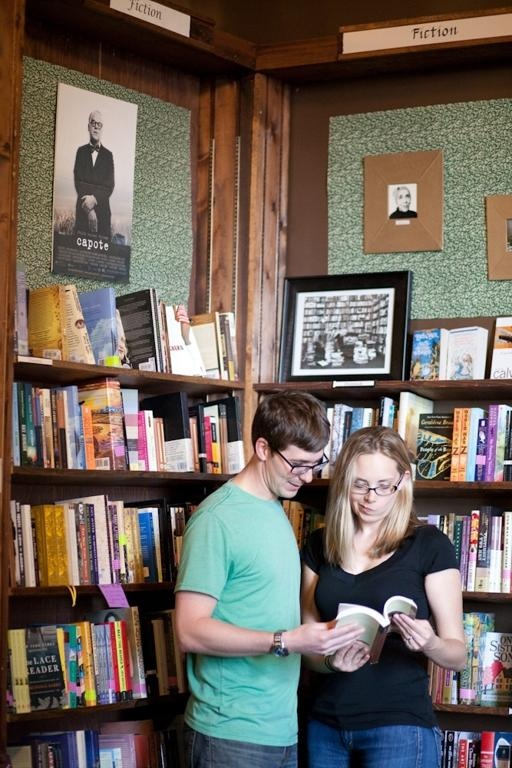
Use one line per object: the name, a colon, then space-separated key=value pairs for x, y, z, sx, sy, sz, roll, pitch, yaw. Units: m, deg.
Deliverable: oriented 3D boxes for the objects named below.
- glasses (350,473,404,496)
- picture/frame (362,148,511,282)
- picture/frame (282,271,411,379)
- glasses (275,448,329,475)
glasses: x=0.296 y=0.255 z=1.689 sx=0.123 sy=0.046 sz=0.036 roll=2 pitch=6 yaw=14
picture/frame: x=0.776 y=-0.695 z=2.822 sx=0.632 sy=0.521 sz=0.028 roll=0 pitch=-4 yaw=21
picture/frame: x=0.388 y=-0.230 z=2.799 sx=0.473 sy=0.385 sz=0.053 roll=-3 pitch=-15 yaw=27
glasses: x=0.096 y=0.178 z=1.505 sx=0.086 sy=0.025 sz=0.089 roll=20 pitch=5 yaw=37
